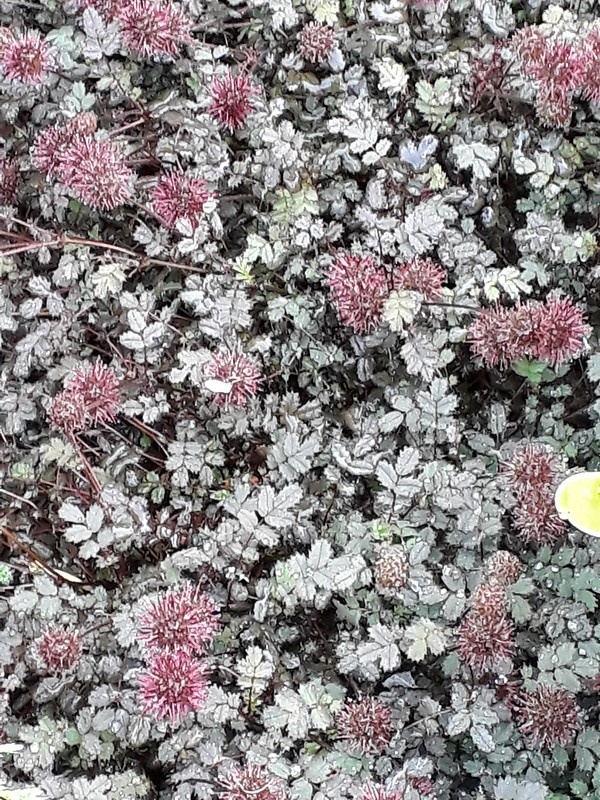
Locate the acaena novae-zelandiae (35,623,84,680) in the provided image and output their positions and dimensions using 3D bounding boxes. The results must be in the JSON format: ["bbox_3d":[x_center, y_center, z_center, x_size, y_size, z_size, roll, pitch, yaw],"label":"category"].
[{"bbox_3d":[-0.304,0.319,0.996,0.052,0.021,0.059,5,82,2],"label":"acaena novae-zelandiae"}]

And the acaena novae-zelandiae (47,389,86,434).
[{"bbox_3d":[-0.298,0.017,1.012,0.042,0.052,0.053,-30,118,-38],"label":"acaena novae-zelandiae"}]

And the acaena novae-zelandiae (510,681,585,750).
[{"bbox_3d":[0.321,0.415,1.026,0.096,0.061,0.082,-5,104,-14],"label":"acaena novae-zelandiae"}]

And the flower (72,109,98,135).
[{"bbox_3d":[-0.276,-0.355,1.007,0.034,0.009,0.030,15,74,9],"label":"flower"}]

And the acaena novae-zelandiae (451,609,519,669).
[{"bbox_3d":[0.242,0.301,1.006,0.074,0.030,0.079,12,95,-12],"label":"acaena novae-zelandiae"}]

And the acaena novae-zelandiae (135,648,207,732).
[{"bbox_3d":[-0.149,0.338,0.929,0.083,0.033,0.084,-41,98,-4],"label":"acaena novae-zelandiae"}]

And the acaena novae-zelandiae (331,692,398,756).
[{"bbox_3d":[0.079,0.400,0.975,0.065,0.038,0.068,31,89,9],"label":"acaena novae-zelandiae"}]
